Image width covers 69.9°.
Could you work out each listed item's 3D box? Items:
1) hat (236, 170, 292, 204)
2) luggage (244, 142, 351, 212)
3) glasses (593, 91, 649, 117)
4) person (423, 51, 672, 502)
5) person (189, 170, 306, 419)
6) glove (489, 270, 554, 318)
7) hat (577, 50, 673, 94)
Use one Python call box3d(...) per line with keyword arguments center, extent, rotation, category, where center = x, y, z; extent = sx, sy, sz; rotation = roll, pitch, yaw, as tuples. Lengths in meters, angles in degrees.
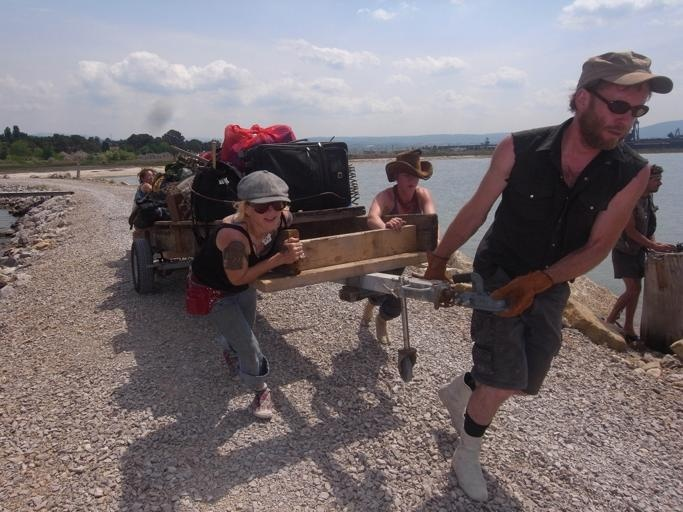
box3d(center=(-0.681, -0.587, 4.178), extent=(0.418, 0.253, 0.321), rotation=(-8, 19, -11), category="hat")
box3d(center=(-0.721, -1.147, 6.621), extent=(1.274, 0.997, 1.078), rotation=(-3, 15, -32), category="luggage")
box3d(center=(1.932, -1.049, 3.365), extent=(0.364, 0.189, 0.149), rotation=(-5, 19, -3), category="glasses")
box3d(center=(1.508, 0.223, 3.703), extent=(1.497, 3.243, 0.830), rotation=(-9, 20, -14), category="person")
box3d(center=(-0.866, 0.400, 4.456), extent=(1.119, 2.276, 0.551), rotation=(-6, 20, -5), category="person")
box3d(center=(1.256, 0.237, 3.526), extent=(0.301, 0.314, 0.383), rotation=(15, 15, -25), category="glove")
box3d(center=(1.966, -1.254, 3.347), extent=(0.601, 0.277, 0.261), rotation=(3, 20, 19), category="hat")
